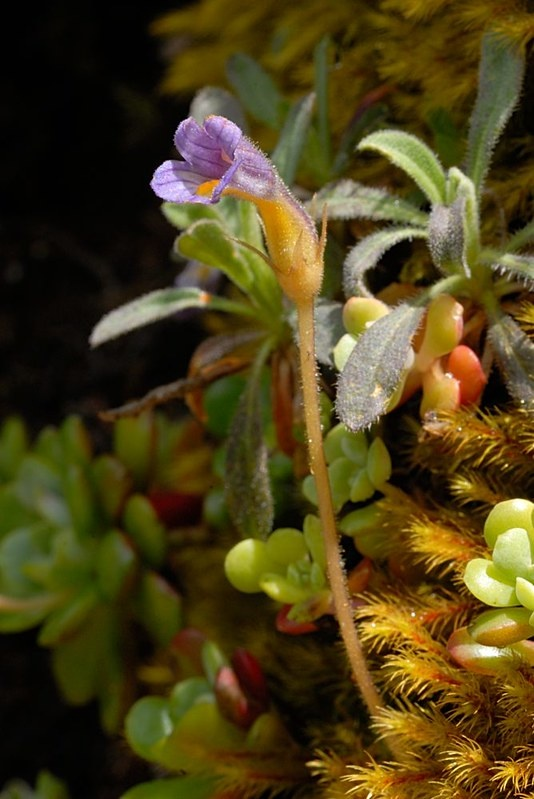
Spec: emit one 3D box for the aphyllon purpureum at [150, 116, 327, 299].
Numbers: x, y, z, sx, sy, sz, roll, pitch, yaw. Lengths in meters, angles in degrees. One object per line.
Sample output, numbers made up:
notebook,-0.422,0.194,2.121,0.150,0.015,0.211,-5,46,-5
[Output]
aphyllon purpureum,-0.013,-0.078,0.323,0.064,0.075,0.047,-14,42,-5
